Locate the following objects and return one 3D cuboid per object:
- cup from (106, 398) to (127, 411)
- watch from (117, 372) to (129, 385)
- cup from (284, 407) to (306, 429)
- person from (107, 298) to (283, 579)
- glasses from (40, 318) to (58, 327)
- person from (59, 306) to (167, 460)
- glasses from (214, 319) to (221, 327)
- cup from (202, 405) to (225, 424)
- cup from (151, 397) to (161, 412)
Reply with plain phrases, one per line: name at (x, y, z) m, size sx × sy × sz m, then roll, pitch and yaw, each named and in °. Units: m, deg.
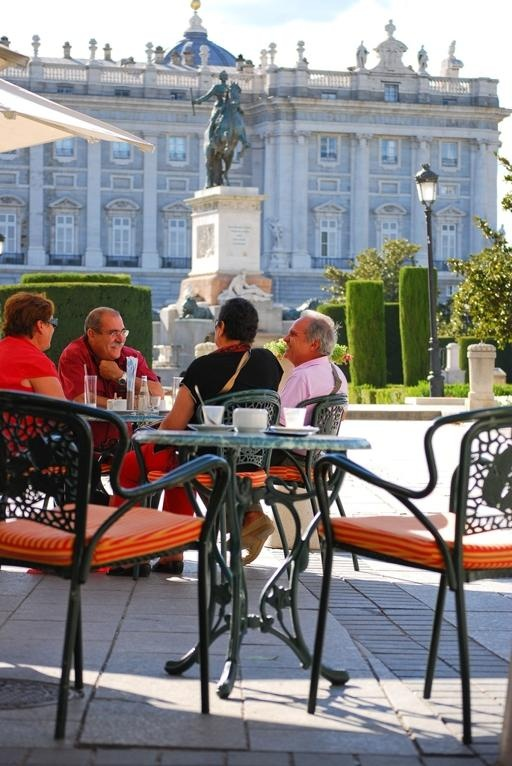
cup at (-0.648, 0.100, 6.134) m, size 0.088 × 0.084 × 0.049 m, roll 1°, pitch -3°, yaw -18°
watch at (-0.666, -0.033, 6.574) m, size 0.042 × 0.071 × 0.065 m, roll 17°, pitch 14°, yaw -18°
cup at (0.140, 0.123, 4.686) m, size 0.071 × 0.063 × 0.069 m, roll 0°, pitch -6°, yaw 0°
person at (-0.312, 0.182, 5.626) m, size 0.736 × 1.323 × 0.458 m, roll 9°, pitch 18°, yaw 25°
glasses at (-0.880, -0.259, 5.536) m, size 0.058 × 0.019 × 0.057 m, roll -15°, pitch -11°, yaw 29°
person at (-0.776, 0.030, 6.720) m, size 0.460 × 0.827 × 0.467 m, roll -15°, pitch 24°, yaw -41°
glasses at (-0.156, -0.249, 5.377) m, size 0.026 × 0.034 × 0.025 m, roll -2°, pitch 0°, yaw 2°
cup at (-0.142, 0.110, 4.615) m, size 0.062 × 0.060 × 0.069 m, roll 1°, pitch -5°, yaw -12°
cup at (-0.473, 0.095, 6.227) m, size 0.060 × 0.070 × 0.059 m, roll 2°, pitch -2°, yaw 0°
